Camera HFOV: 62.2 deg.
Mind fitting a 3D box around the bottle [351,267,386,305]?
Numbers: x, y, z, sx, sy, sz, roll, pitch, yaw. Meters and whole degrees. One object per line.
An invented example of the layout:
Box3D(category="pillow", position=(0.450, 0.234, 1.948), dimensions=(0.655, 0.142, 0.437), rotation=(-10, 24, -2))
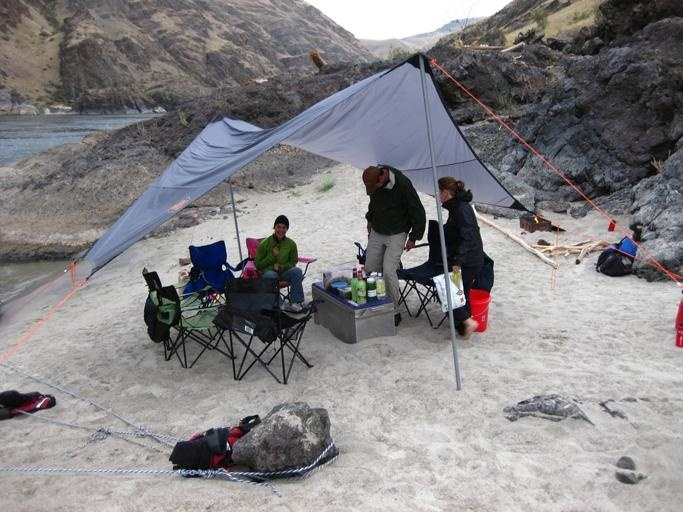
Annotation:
Box3D(category="bottle", position=(0.301, 0.359, 6.696), dimensions=(0.520, 0.449, 0.323), rotation=(-2, 9, 0))

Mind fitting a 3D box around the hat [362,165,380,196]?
Box3D(category="hat", position=(0.345, -0.925, 6.876), dimensions=(0.243, 0.308, 0.181), rotation=(7, -6, 18))

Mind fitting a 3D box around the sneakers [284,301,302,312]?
Box3D(category="sneakers", position=(-0.594, 0.637, 7.161), dimensions=(0.239, 0.096, 0.108), rotation=(-5, 0, 39))

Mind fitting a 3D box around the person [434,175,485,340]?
Box3D(category="person", position=(1.424, 0.018, 6.713), dimensions=(0.493, 1.893, 0.817), rotation=(-3, 16, 8))

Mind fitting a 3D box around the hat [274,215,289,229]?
Box3D(category="hat", position=(-0.765, -0.448, 7.299), dimensions=(0.179, 0.168, 0.210), rotation=(5, 14, -8))
